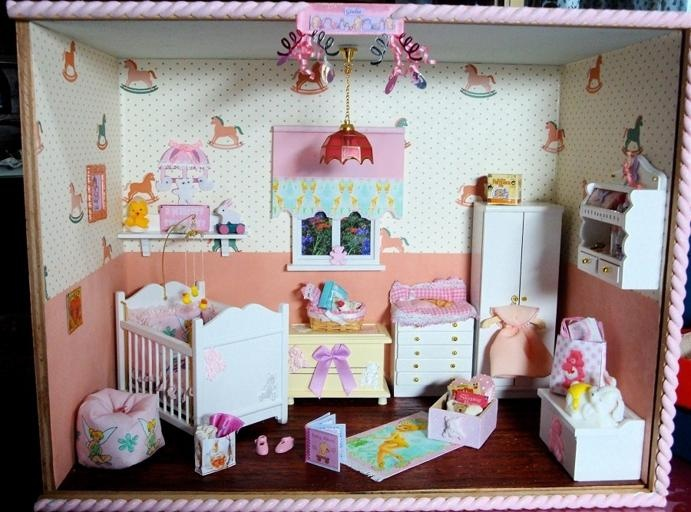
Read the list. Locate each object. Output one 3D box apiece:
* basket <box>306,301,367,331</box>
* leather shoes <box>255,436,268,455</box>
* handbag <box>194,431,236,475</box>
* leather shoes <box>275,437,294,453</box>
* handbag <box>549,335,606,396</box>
[{"bbox_3d":[-0.090,0.545,5.902,0.358,0.166,0.306,0,-1,22],"label":"basket"},{"bbox_3d":[-0.700,1.546,5.108,0.112,0.132,0.213,-2,8,-10],"label":"leather shoes"},{"bbox_3d":[-1.051,1.518,4.869,0.168,0.309,0.344,-1,1,30],"label":"handbag"},{"bbox_3d":[-0.513,1.568,5.138,0.151,0.070,0.204,-1,9,-4],"label":"leather shoes"},{"bbox_3d":[1.940,0.897,5.027,0.444,0.547,0.190,4,-1,37],"label":"handbag"}]
